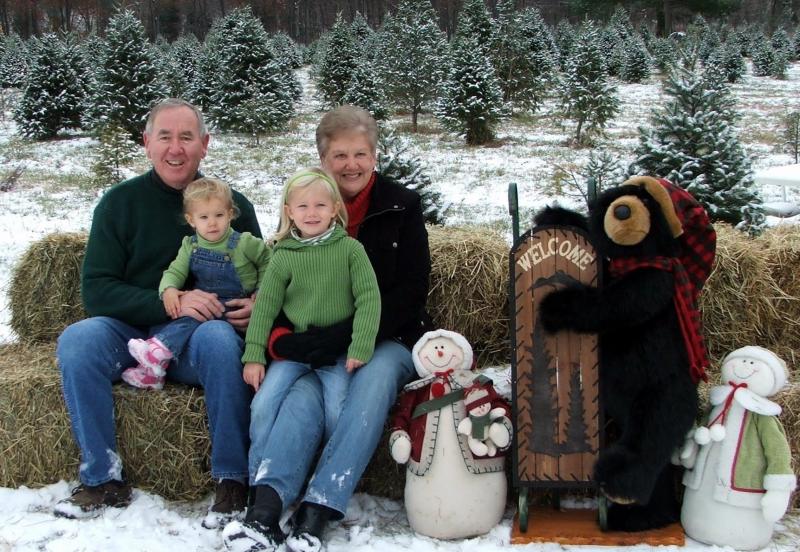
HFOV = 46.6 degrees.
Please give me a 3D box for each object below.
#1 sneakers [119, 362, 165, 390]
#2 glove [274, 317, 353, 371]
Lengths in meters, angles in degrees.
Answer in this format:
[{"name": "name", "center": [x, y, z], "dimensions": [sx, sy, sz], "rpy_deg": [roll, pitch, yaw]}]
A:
[{"name": "sneakers", "center": [-2.708, 1.044, 9.717], "dimensions": [0.343, 0.266, 0.134], "rpy_deg": [19, -26, -14]}, {"name": "glove", "center": [-0.904, 0.721, 9.542], "dimensions": [0.632, 0.499, 0.276], "rpy_deg": [2, -14, 10]}]
